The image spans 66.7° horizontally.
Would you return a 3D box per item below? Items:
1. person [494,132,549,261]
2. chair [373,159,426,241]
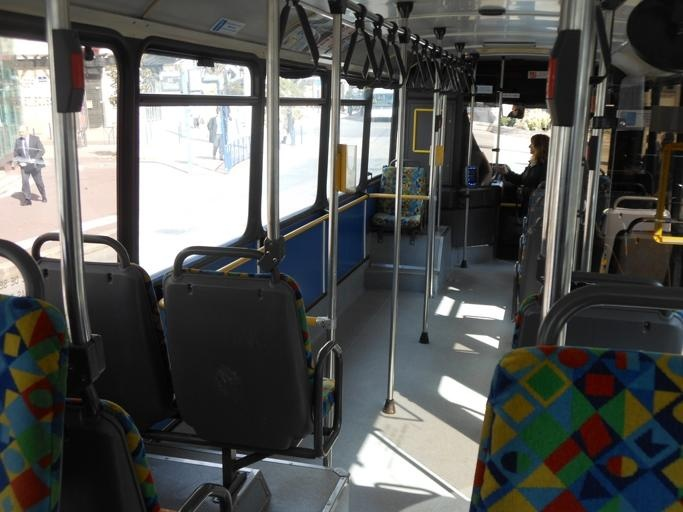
[{"bbox_3d":[3.057,-1.219,9.323,0.945,1.916,0.816,-1,34,-9],"label":"person"},{"bbox_3d":[0.923,-0.882,8.240,0.844,0.985,0.965,2,14,9],"label":"chair"}]
